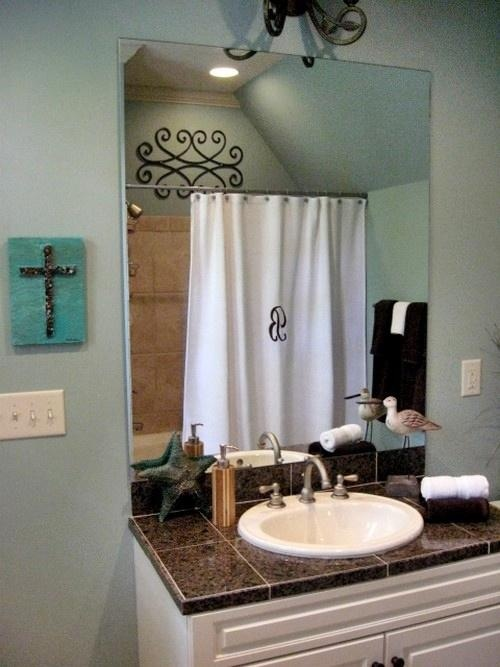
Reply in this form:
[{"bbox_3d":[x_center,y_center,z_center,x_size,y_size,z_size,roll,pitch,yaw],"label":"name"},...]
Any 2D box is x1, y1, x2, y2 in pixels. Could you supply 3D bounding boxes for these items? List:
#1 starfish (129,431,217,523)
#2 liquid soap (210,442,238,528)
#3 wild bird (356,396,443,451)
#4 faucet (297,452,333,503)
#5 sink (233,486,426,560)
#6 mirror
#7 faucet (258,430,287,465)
[{"bbox_3d":[-0.185,0.350,1.531,0.202,0.203,0.122,-2,2,-12],"label":"starfish"},{"bbox_3d":[-0.065,0.363,1.477,0.069,0.166,0.076,1,-3,-23],"label":"liquid soap"},{"bbox_3d":[0.400,0.230,1.737,0.203,0.136,0.161,0,10,-15],"label":"wild bird"},{"bbox_3d":[0.163,0.361,1.533,0.091,0.128,0.070,-3,12,-29],"label":"faucet"},{"bbox_3d":[0.170,0.449,1.516,0.435,0.108,0.309,-1,1,-15],"label":"sink"},{"bbox_3d":[0.105,-0.208,1.635,0.856,1.004,0.058,-2,2,-20],"label":"mirror"},{"bbox_3d":[0.053,0.291,1.610,0.042,0.071,0.115,-5,16,-21],"label":"faucet"}]
